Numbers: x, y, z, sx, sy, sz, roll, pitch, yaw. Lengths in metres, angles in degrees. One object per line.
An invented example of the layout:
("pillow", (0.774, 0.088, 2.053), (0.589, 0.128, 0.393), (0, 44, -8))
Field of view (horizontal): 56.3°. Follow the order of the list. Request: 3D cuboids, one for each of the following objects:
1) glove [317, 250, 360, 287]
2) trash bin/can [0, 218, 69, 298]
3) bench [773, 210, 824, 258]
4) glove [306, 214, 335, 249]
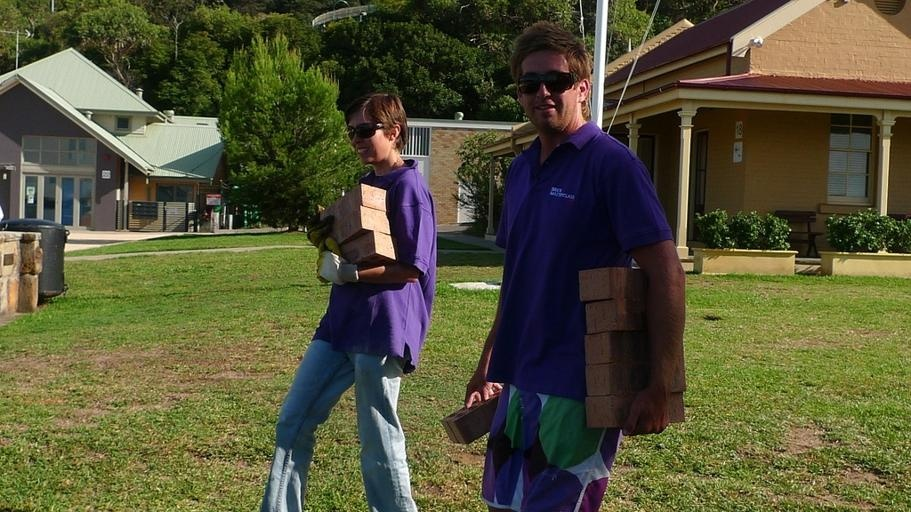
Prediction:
("glove", (-1.515, 0.180, 11.311), (0.380, 0.276, 0.198), (19, -28, 0))
("trash bin/can", (-9.797, 0.074, 20.094), (1.713, 1.807, 1.854), (0, 3, -3))
("bench", (9.635, -0.582, 24.015), (1.565, 1.054, 0.655), (2, 12, -20))
("glove", (-1.794, -0.305, 11.575), (0.392, 0.406, 0.137), (-13, -7, 11))
